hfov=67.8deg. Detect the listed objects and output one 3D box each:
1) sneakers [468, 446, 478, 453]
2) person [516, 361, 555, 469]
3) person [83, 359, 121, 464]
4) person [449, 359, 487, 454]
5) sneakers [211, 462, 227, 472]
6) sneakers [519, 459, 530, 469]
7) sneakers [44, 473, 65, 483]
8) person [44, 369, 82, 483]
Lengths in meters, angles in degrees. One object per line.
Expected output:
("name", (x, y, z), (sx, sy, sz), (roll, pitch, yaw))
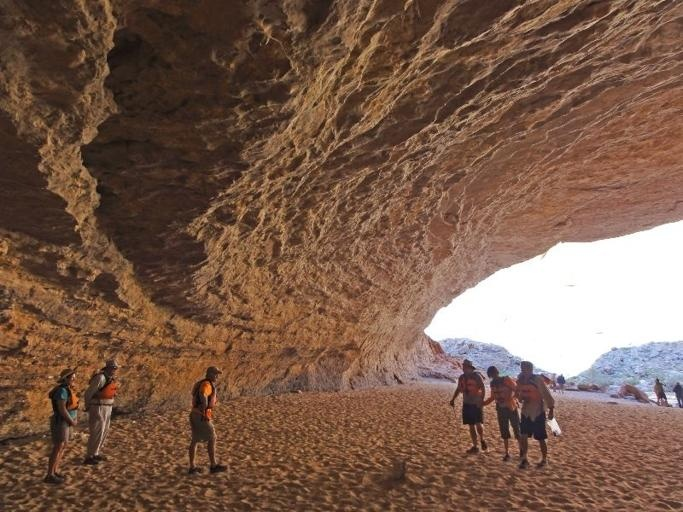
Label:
("sneakers", (2.558, 3.711, 9.756), (0.199, 0.079, 0.166), (3, 4, 15))
("person", (3.548, 2.864, 9.361), (0.699, 1.943, 0.844), (6, 4, 20))
("person", (-4.117, 2.682, 8.710), (0.336, 1.706, 0.488), (6, 5, 19))
("person", (2.616, 2.951, 10.141), (0.768, 1.717, 1.031), (5, 4, 12))
("sneakers", (-2.068, 3.568, 8.573), (0.301, 0.098, 0.139), (0, -9, -1))
("sneakers", (3.322, 3.732, 9.174), (0.160, 0.196, 0.193), (-2, -5, 24))
("sneakers", (-4.530, 3.525, 8.039), (0.274, 0.123, 0.150), (1, 4, -22))
("person", (-4.542, 2.729, 8.263), (0.411, 1.653, 0.697), (2, 5, -25))
